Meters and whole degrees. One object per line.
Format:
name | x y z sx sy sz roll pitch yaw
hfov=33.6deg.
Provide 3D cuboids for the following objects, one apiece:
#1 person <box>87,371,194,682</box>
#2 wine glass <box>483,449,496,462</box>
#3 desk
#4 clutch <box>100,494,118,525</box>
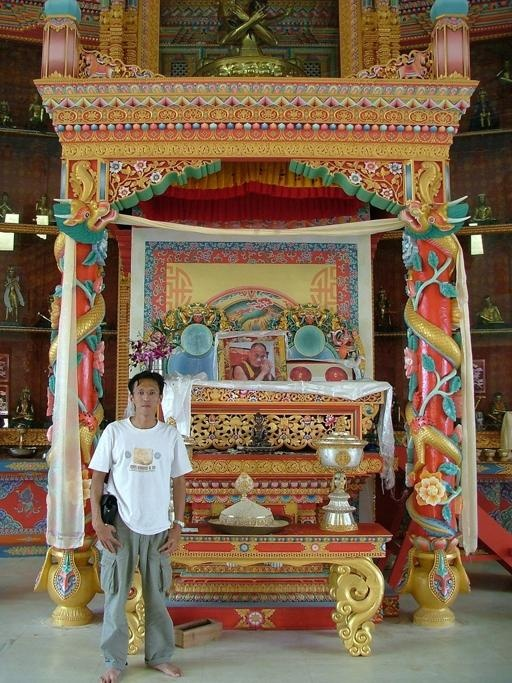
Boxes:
person | -0.517 0.823 3.834 0.250 1.373 0.404 -2 -4 40
wine glass | 1.807 0.877 6.584 0.098 0.093 0.097 2 -8 7
desk | 0.170 1.341 4.617 1.355 0.565 0.538 -6 -17 28
clutch | -0.649 0.744 3.761 0.072 0.109 0.123 9 -15 -18
